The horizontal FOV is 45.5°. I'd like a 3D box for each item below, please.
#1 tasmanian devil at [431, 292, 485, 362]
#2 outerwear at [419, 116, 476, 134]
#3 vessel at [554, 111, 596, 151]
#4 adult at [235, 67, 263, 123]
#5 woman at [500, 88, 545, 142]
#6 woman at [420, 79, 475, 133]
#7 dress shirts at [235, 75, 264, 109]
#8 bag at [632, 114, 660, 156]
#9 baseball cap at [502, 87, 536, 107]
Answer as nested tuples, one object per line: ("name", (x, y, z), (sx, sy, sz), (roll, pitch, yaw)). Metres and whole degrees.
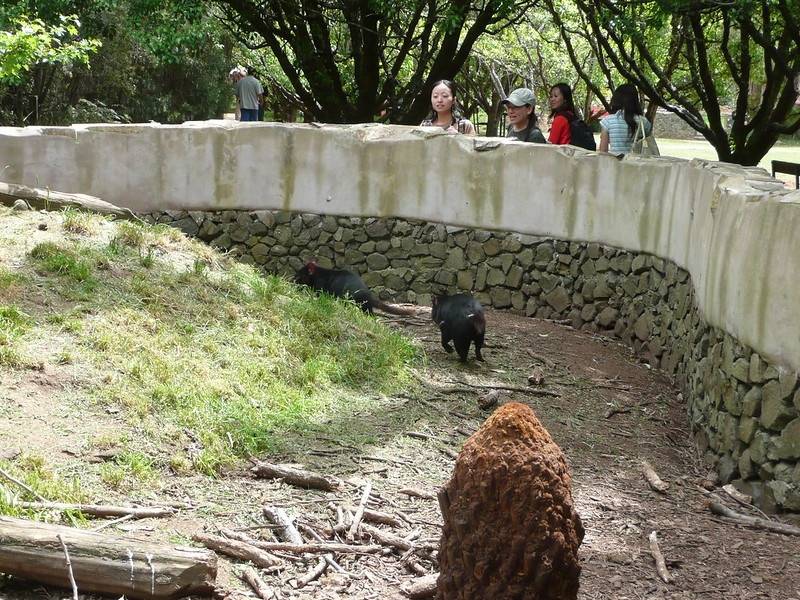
("tasmanian devil", (0.659, 0.304, 10.403), (0.394, 0.696, 0.876), (1, 7, -13))
("outerwear", (0.732, -2.315, 12.778), (0.482, 0.223, 0.387), (4, 6, -24))
("vessel", (2.217, -2.157, 12.112), (0.506, 0.602, 0.377), (3, 19, 19))
("adult", (-2.856, -3.677, 17.896), (0.463, 1.364, 0.360), (-1, -8, 0))
("woman", (1.551, -2.339, 12.286), (0.524, 0.786, 0.506), (-7, 13, -29))
("woman", (0.602, -2.490, 12.682), (0.763, 0.898, 0.447), (4, 14, 18))
("dress shirts", (-2.860, -3.881, 17.880), (0.464, 0.641, 0.452), (1, 6, -14))
("bag", (2.994, -1.969, 11.535), (0.293, 0.475, 0.649), (5, 7, 22))
("baseball cap", (1.511, -2.483, 11.844), (0.316, 0.169, 0.224), (-1, 15, -36))
